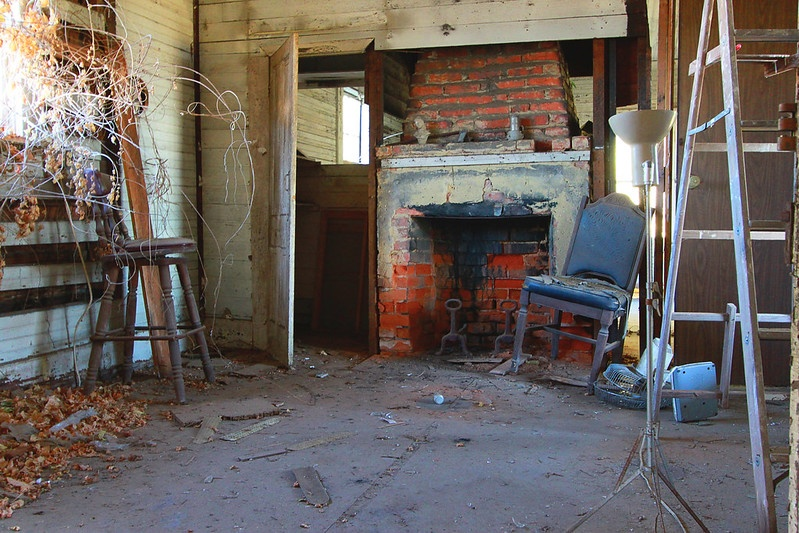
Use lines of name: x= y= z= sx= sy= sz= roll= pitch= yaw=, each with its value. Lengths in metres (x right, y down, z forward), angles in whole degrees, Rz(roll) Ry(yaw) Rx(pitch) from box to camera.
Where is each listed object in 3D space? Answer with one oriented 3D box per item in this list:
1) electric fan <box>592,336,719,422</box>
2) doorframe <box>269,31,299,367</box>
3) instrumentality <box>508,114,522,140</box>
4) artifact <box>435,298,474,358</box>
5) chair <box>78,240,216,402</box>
electric fan: x=1.731 y=0.756 z=4.410 sx=0.751 sy=0.326 sz=0.537 roll=2 pitch=2 yaw=8
doorframe: x=-1.014 y=-0.561 z=5.538 sx=0.268 sy=2.738 sz=0.630 roll=-1 pitch=6 yaw=-12
instrumentality: x=0.993 y=-1.197 z=5.535 sx=0.132 sy=0.232 sz=0.141 roll=2 pitch=6 yaw=16
artifact: x=0.503 y=0.516 z=5.939 sx=0.290 sy=0.500 sz=0.498 roll=1 pitch=6 yaw=5
chair: x=-1.872 y=0.338 z=4.851 sx=0.886 sy=1.129 sz=0.899 roll=-1 pitch=6 yaw=-8
